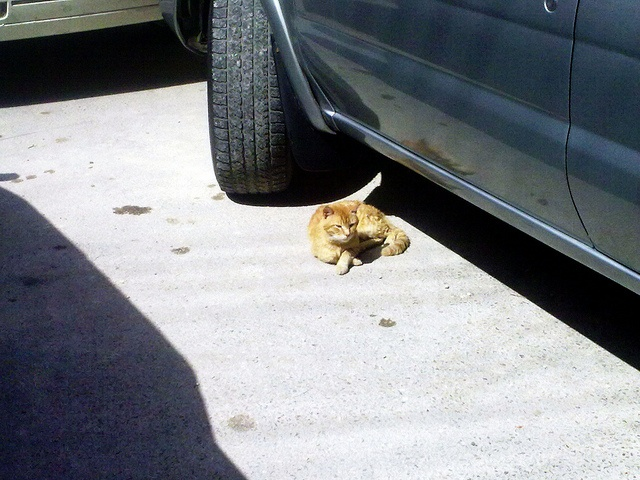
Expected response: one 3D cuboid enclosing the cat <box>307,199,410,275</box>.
[{"bbox_3d":[0.191,-0.086,3.264,0.575,0.351,0.718,7,19,16],"label":"cat"}]
